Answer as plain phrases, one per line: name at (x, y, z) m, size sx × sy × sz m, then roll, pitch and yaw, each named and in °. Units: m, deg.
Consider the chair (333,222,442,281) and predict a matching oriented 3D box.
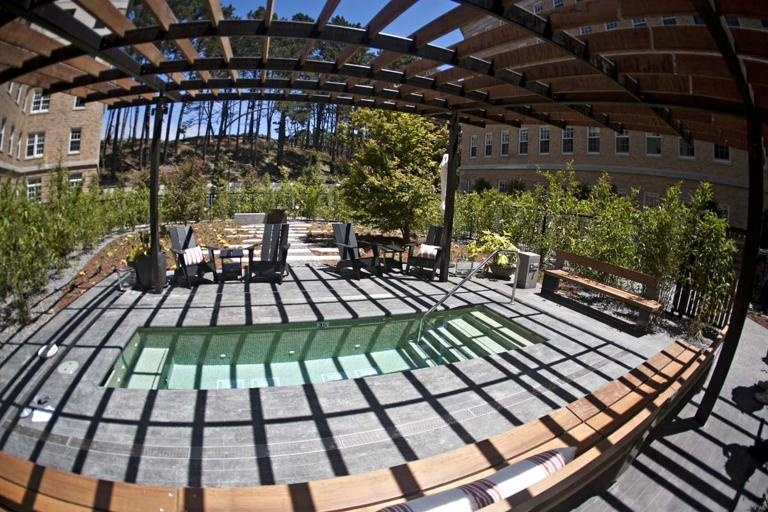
chair at (0.128, -0.153, 9.788) m, size 2.723 × 1.216 × 1.523 m, roll 3°, pitch 9°, yaw -1°
